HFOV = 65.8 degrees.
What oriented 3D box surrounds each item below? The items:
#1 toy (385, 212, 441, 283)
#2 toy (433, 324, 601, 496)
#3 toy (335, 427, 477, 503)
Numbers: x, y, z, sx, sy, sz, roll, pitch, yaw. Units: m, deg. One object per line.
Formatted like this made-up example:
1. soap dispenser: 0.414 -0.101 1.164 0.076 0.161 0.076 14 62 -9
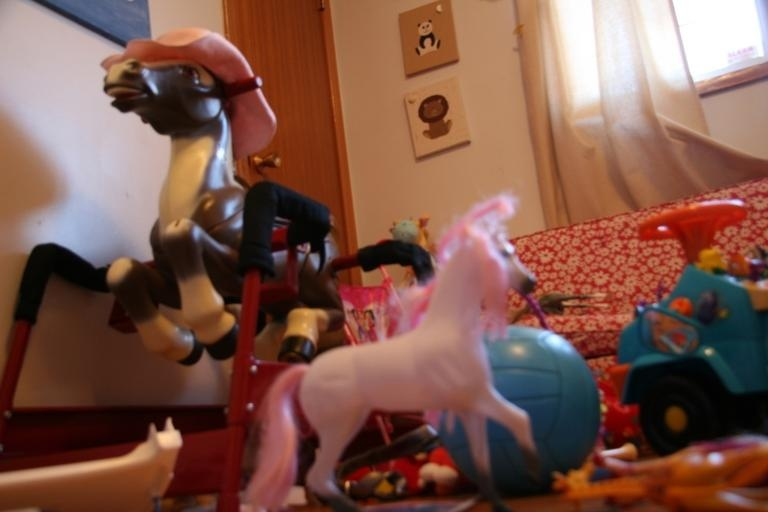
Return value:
1. toy: 0.150 -0.024 2.915 0.224 0.331 0.187 -4 -1 18
2. toy: 0.284 0.305 1.454 0.317 0.333 0.317 -25 32 -24
3. toy: 0.039 0.586 1.595 0.263 0.137 0.273 -20 -16 -8
